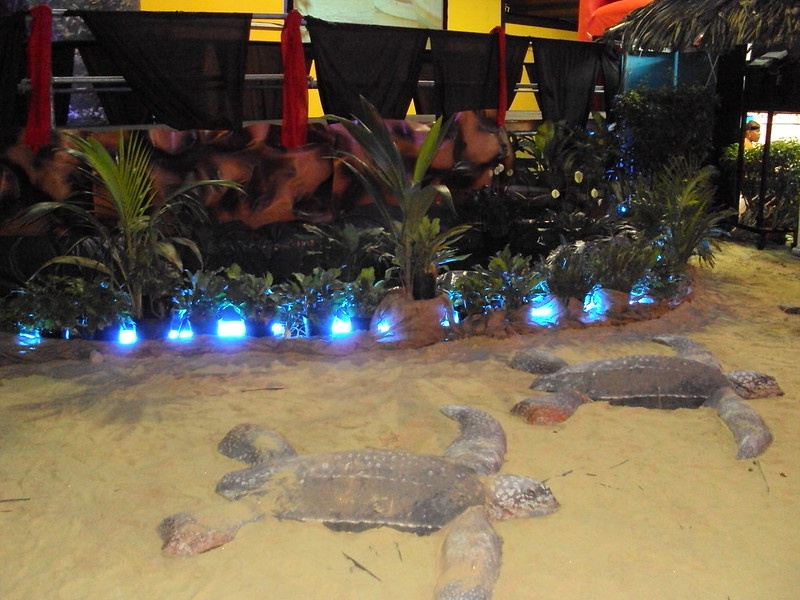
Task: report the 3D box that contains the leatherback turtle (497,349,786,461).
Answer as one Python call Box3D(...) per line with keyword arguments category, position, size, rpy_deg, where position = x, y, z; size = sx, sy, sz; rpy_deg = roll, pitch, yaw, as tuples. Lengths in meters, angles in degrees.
Box3D(category="leatherback turtle", position=(1.696, 0.639, 4.928), size=(1.011, 0.175, 0.952), rpy_deg=(-4, 20, 4))

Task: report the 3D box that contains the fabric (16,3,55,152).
Box3D(category="fabric", position=(-3.071, -1.919, 5.889), size=(0.330, 1.135, 0.168), rpy_deg=(1, 12, 15))

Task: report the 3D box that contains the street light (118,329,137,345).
Box3D(category="street light", position=(-2.358, 0.308, 5.976), size=(0.130, 0.139, 0.083), rpy_deg=(-14, -4, -17))

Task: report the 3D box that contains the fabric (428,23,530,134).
Box3D(category="fabric", position=(0.885, -2.355, 7.145), size=(1.084, 0.863, 0.069), rpy_deg=(-6, 16, -14))

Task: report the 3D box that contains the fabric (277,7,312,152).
Box3D(category="fabric", position=(-0.977, -2.005, 6.262), size=(0.244, 1.160, 0.194), rpy_deg=(-4, 12, -10))

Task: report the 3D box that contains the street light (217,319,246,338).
Box3D(category="street light", position=(-1.481, 0.235, 6.063), size=(0.248, 0.130, 0.078), rpy_deg=(-3, 12, -5))

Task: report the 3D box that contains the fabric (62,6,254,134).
Box3D(category="fabric", position=(-2.036, -1.997, 6.099), size=(1.480, 1.101, 0.159), rpy_deg=(-3, -1, -12))
